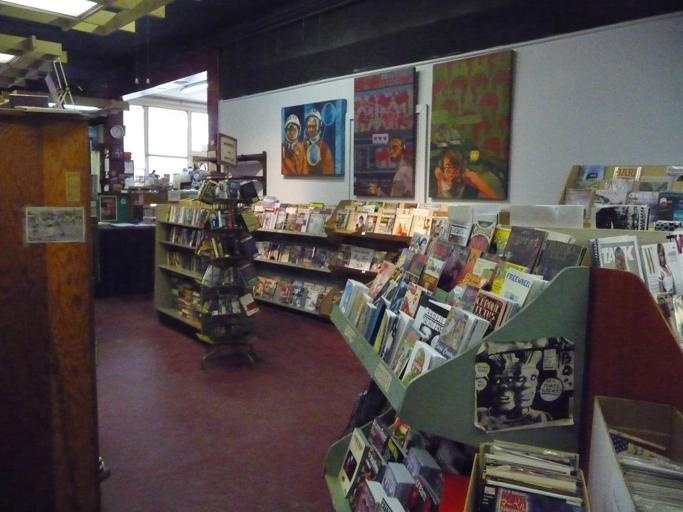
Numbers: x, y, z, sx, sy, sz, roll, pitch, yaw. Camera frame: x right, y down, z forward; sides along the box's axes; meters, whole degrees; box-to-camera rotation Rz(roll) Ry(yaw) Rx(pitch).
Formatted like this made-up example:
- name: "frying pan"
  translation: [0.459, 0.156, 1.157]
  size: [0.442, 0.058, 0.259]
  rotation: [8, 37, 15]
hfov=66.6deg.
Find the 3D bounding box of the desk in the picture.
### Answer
- name: "desk"
  translation: [-3.607, 0.058, 8.657]
  size: [1.076, 1.079, 0.561]
  rotation: [-3, 4, -43]
